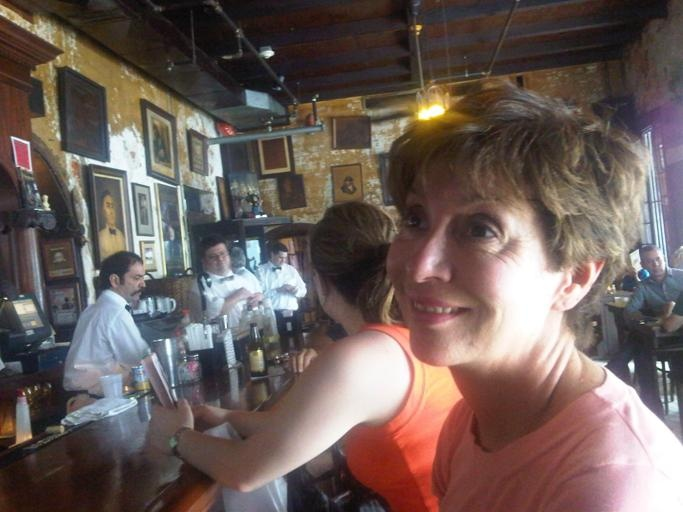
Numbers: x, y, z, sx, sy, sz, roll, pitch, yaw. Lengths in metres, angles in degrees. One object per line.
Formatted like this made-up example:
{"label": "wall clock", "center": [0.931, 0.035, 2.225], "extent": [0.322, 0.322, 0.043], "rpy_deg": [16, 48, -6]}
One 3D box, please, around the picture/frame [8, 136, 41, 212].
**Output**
{"label": "picture/frame", "center": [-2.165, -0.556, 3.895], "extent": [0.074, 0.456, 0.236], "rpy_deg": [-6, -1, 0]}

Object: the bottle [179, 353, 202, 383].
{"label": "bottle", "center": [-0.829, 0.627, 3.067], "extent": [0.136, 0.146, 0.133], "rpy_deg": [0, -9, 2]}

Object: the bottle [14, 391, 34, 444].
{"label": "bottle", "center": [-1.508, 0.756, 2.660], "extent": [0.059, 0.223, 0.126], "rpy_deg": [-5, -1, -33]}

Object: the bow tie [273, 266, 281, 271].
{"label": "bow tie", "center": [-0.804, 0.167, 7.118], "extent": [0.060, 0.056, 0.018], "rpy_deg": [22, 11, 4]}

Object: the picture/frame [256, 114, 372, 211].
{"label": "picture/frame", "center": [-0.410, -1.348, 8.780], "extent": [1.845, 1.562, 0.187], "rpy_deg": [-5, -1, 11]}
